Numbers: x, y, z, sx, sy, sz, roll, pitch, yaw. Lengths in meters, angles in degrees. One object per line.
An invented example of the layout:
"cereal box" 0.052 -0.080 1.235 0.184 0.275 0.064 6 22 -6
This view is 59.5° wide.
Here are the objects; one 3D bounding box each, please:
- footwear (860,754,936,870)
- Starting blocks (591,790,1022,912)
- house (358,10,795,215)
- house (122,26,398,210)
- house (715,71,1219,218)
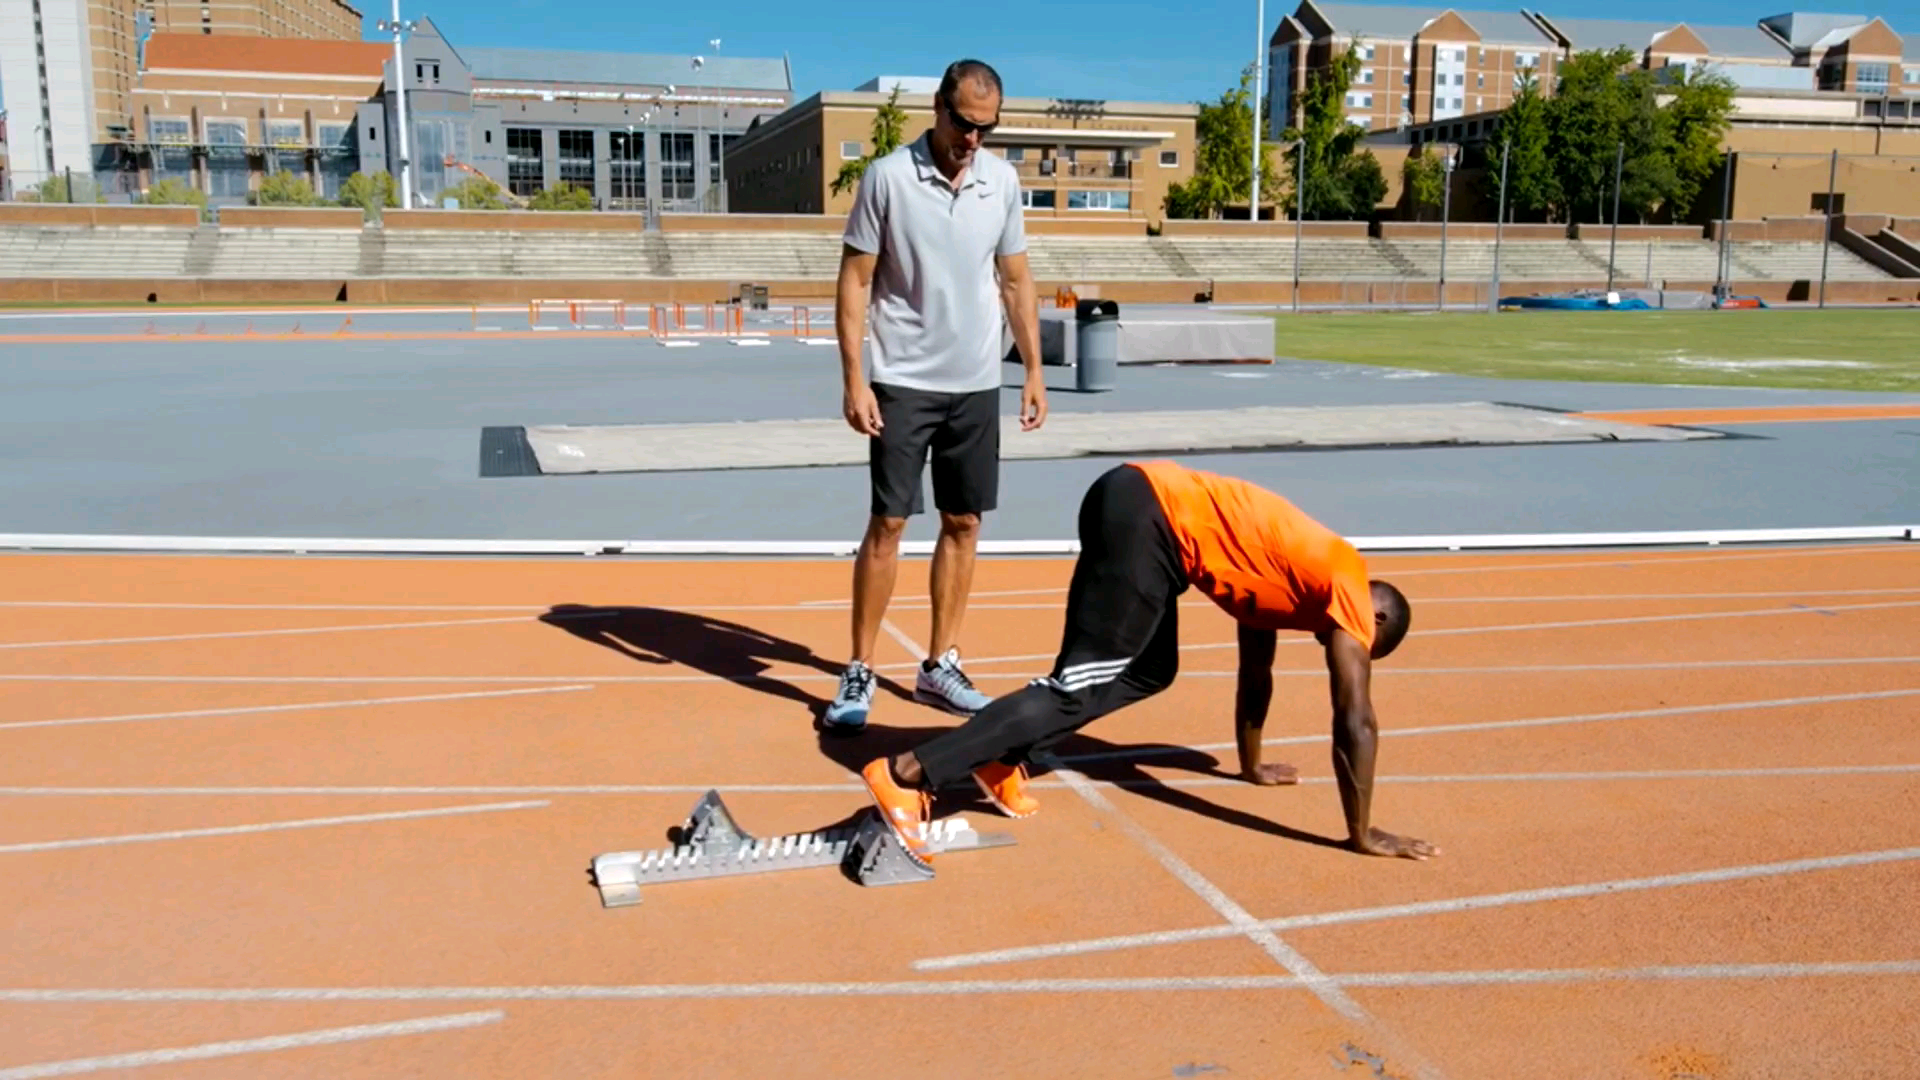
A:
"footwear" -0.331 1.336 8.688 0.288 0.642 0.227 -32 3 -3
"Starting blocks" -0.783 1.516 8.697 2.168 0.286 0.970 -2 11 -6
"house" -27.712 -28.842 119.688 32.223 11.102 12.492 0 9 -17
"house" -47.292 -29.286 119.784 17.676 10.182 13.298 6 10 18
"house" 4.791 -19.909 87.418 27.281 7.335 28.517 -1 5 -10
